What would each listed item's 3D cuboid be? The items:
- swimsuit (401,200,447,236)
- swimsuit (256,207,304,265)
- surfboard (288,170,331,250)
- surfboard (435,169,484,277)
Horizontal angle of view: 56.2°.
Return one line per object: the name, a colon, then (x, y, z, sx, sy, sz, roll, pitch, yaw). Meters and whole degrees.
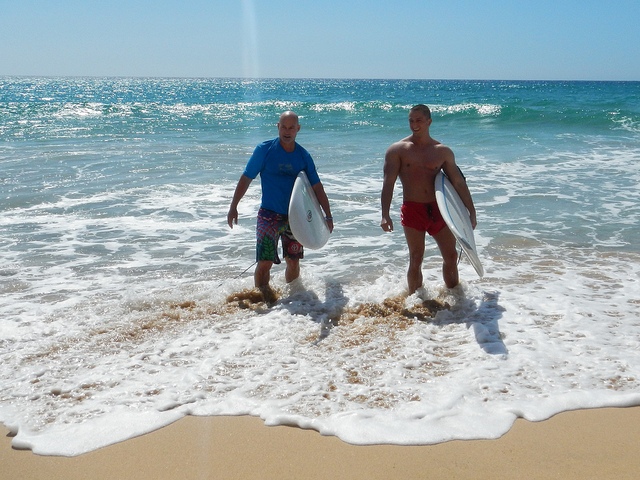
swimsuit: (1.050, -0.231, 6.115, 0.547, 0.346, 0.326, 2, 6, 2)
swimsuit: (-0.414, -0.053, 6.312, 0.639, 0.564, 0.333, 8, -23, -26)
surfboard: (-0.137, -0.295, 6.241, 0.225, 0.702, 0.669, -10, -5, 25)
surfboard: (1.555, -0.127, 6.690, 0.235, 0.686, 1.814, -18, -39, 16)
